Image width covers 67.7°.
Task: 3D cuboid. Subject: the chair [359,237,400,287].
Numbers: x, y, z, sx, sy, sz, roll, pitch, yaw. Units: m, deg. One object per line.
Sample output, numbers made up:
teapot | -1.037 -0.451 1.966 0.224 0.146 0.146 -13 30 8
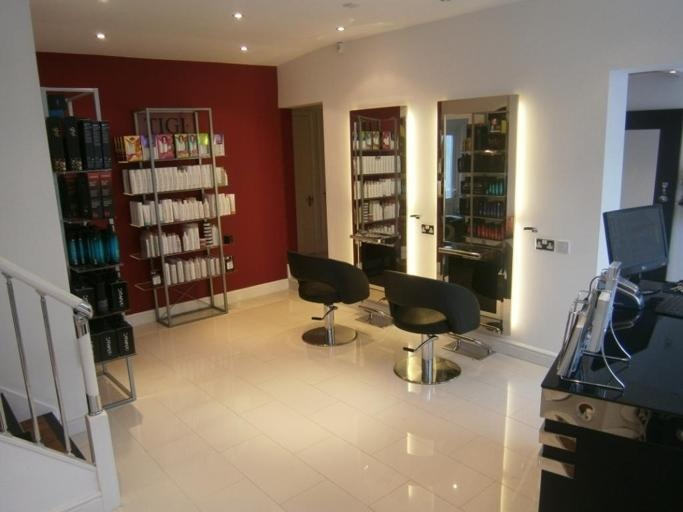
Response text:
chair | 0.568 -0.014 6.598 0.483 0.677 0.663 -6 9 -38

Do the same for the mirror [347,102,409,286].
mirror | 0.500 -0.789 6.382 0.808 2.064 0.152 0 2 32

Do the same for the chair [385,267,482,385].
chair | 0.858 0.640 5.117 0.879 1.105 0.730 7 15 37

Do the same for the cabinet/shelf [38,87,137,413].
cabinet/shelf | -2.482 -0.173 5.079 0.539 3.111 1.331 -10 12 -26

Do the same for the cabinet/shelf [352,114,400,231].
cabinet/shelf | 0.418 -1.004 6.418 0.628 1.591 0.170 -7 7 -28

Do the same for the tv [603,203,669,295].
tv | 2.262 -0.067 3.892 0.671 0.777 0.265 -6 -4 -34

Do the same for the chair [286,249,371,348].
chair | -0.198 0.453 6.045 0.833 1.109 0.793 9 15 39
